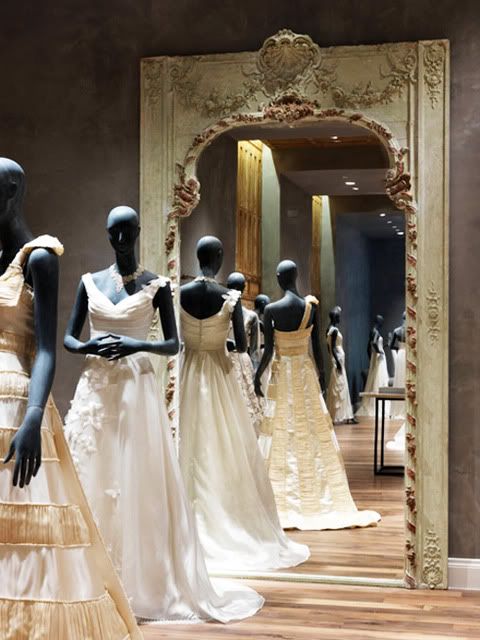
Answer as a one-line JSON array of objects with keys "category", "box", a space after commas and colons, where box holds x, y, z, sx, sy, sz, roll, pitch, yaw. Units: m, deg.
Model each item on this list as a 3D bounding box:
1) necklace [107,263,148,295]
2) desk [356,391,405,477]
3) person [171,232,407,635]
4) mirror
[{"category": "necklace", "box": [-0.445, -0.151, 3.442, 0.087, 0.119, 0.033, 8, -1, 9]}, {"category": "desk", "box": [0.784, 0.607, 4.962, 0.267, 0.373, 0.280, 9, -3, 41]}, {"category": "person", "box": [0.237, 0.452, 4.665, 1.151, 1.613, 1.092, -2, 7, -5]}, {"category": "mirror", "box": [0.186, 0.049, 3.612, 1.112, 2.608, 0.062, -2, -35, 10]}]
